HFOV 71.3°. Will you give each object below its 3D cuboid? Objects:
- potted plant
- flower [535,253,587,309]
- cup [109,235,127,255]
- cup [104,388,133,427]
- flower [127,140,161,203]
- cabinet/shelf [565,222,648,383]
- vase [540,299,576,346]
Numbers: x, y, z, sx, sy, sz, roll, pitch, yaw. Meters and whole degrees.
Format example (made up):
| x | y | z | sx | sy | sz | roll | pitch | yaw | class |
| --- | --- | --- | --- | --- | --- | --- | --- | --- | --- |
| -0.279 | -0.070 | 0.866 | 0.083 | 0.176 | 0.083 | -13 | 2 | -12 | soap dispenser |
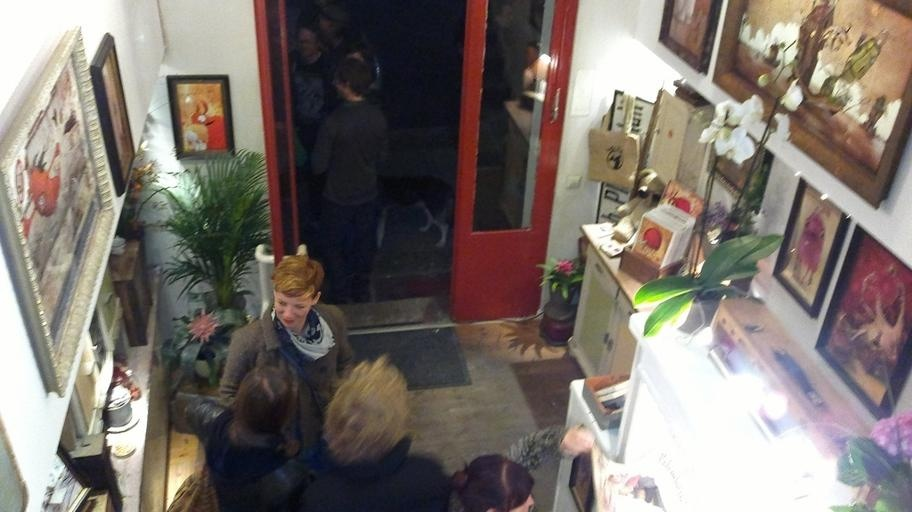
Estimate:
| x | y | z | sx | sy | sz | roll | pitch | yaw | class |
| --- | --- | --- | --- | --- | --- | --- | --- | --- | --- |
| -1.980 | -0.260 | 5.122 | 0.810 | 0.995 | 1.022 | 15 | 37 | 22 | potted plant |
| 0.939 | 0.163 | 5.573 | 0.418 | 0.268 | 0.411 | -22 | 50 | -38 | flower |
| -2.370 | -0.071 | 4.463 | 0.107 | 0.106 | 0.125 | -1 | 42 | -46 | cup |
| -2.211 | 1.006 | 4.281 | 0.240 | 0.236 | 0.212 | -6 | 57 | -24 | cup |
| -2.370 | -0.659 | 4.824 | 0.289 | 0.239 | 0.452 | 10 | 38 | -9 | flower |
| 1.129 | 0.362 | 4.732 | 0.422 | 0.947 | 1.034 | -3 | 50 | -4 | cabinet/shelf |
| 0.902 | 0.609 | 5.624 | 0.319 | 0.384 | 0.404 | 2 | 41 | -4 | vase |
